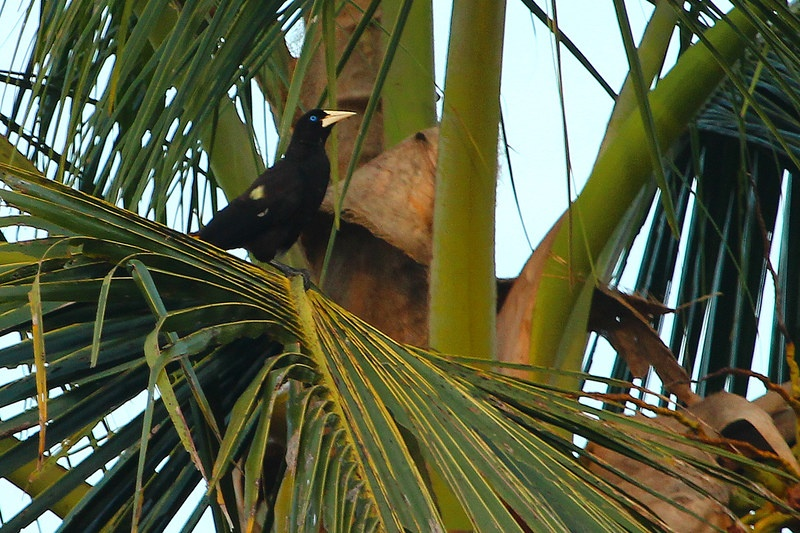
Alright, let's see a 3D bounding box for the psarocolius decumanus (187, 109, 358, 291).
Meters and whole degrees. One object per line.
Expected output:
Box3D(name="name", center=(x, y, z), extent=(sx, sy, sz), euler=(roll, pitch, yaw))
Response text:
Box3D(name="psarocolius decumanus", center=(-0.510, -0.293, 4.563), extent=(0.590, 0.301, 0.680), euler=(6, -89, 3))
